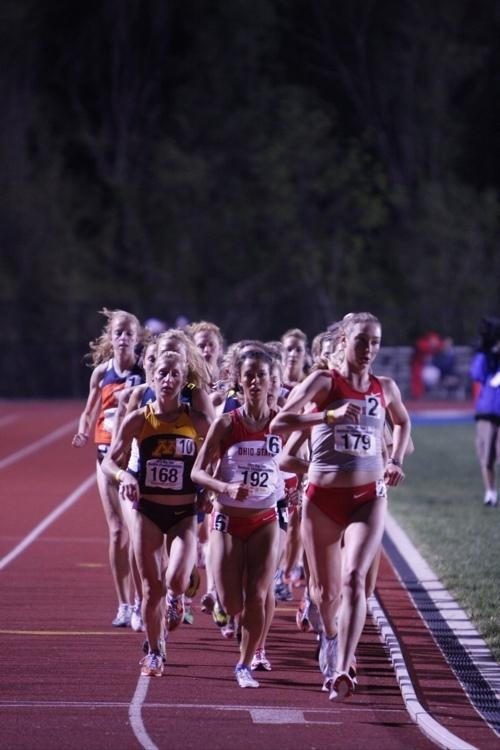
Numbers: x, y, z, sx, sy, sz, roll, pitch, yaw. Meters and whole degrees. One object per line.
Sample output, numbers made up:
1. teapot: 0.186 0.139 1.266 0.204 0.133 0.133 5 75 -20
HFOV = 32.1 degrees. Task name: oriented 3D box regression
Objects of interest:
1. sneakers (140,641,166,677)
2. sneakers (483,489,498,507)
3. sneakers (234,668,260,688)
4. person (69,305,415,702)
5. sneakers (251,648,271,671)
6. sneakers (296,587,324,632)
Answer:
1. sneakers: -0.454 1.360 4.144 0.085 0.094 0.217 7 23 -7
2. sneakers: 2.614 1.329 9.381 0.137 0.179 0.214 2 7 16
3. sneakers: -0.008 1.392 3.971 0.062 0.061 0.148 4 -14 -20
4. person: 0.249 0.572 3.999 0.781 1.709 1.089 3 8 22
5. sneakers: 0.061 1.438 4.367 0.066 0.071 0.181 -1 -16 3
6. sneakers: 0.329 1.313 4.676 0.126 0.332 0.154 -5 -36 10
